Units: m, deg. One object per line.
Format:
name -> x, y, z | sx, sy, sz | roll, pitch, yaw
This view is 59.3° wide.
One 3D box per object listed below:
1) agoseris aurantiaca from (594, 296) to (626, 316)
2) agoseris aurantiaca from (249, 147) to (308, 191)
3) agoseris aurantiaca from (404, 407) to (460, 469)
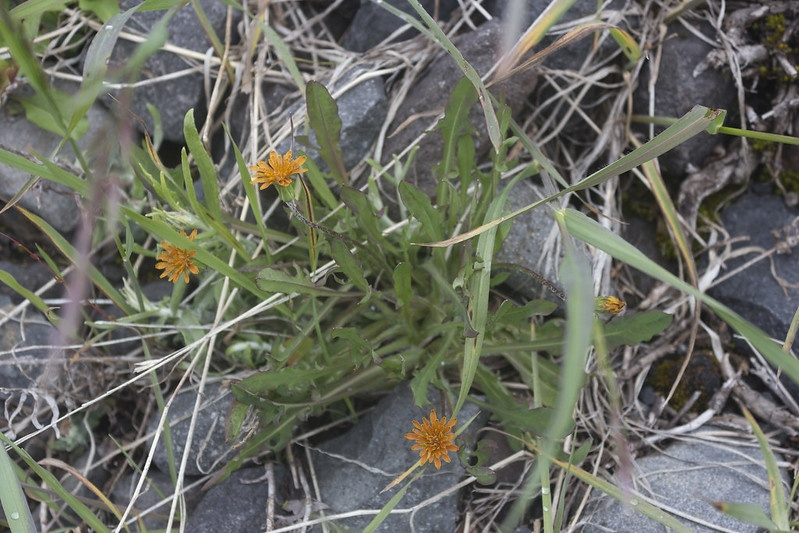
agoseris aurantiaca -> 0.688, 0.129, 2.273 | 0.112, 0.048, 0.087 | 1, 88, -8
agoseris aurantiaca -> -0.385, -0.324, 2.319 | 0.164, 0.078, 0.186 | 13, 56, 35
agoseris aurantiaca -> 0.117, 0.579, 2.352 | 0.167, 0.203, 0.165 | -30, 71, -14
